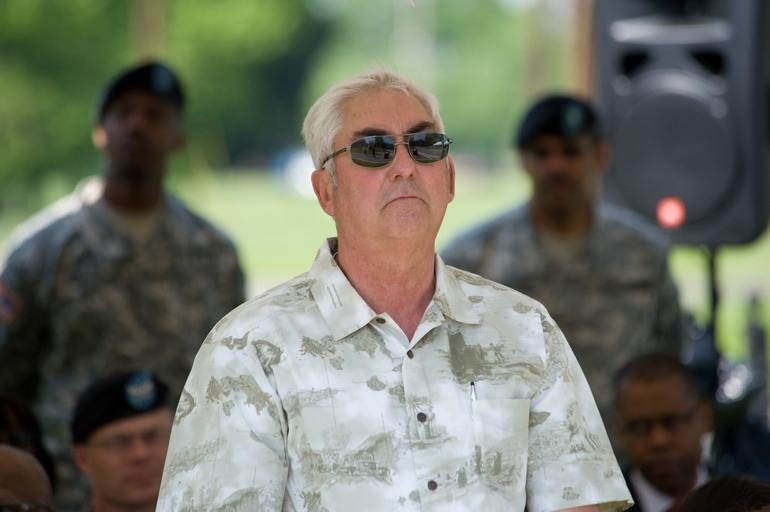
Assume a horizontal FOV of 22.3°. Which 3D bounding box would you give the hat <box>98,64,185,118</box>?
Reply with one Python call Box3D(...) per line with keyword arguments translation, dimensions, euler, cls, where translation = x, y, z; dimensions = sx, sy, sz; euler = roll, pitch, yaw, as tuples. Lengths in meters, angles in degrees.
Box3D(translation=(-1.005, -0.691, 8.361), dimensions=(0.417, 0.217, 0.497), euler=(-2, 1, -29), cls="hat")
